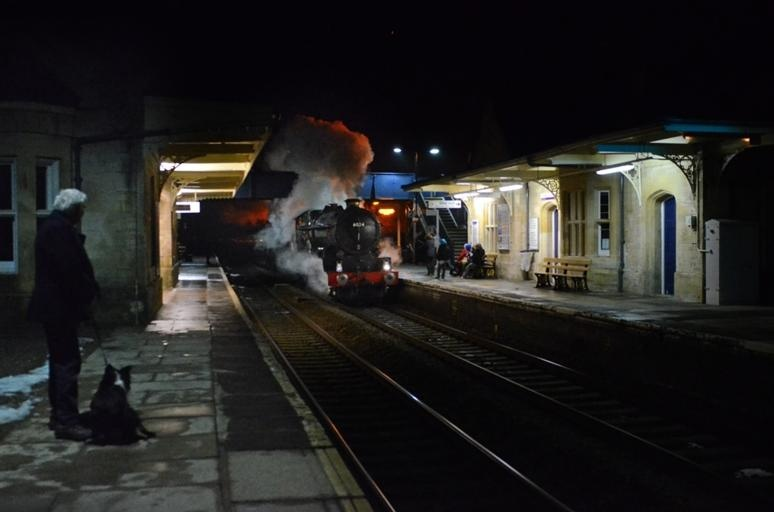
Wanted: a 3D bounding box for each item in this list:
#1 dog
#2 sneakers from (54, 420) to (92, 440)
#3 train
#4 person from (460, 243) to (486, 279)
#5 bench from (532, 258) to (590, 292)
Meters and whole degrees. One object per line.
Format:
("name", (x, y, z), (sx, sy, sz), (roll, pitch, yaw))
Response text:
("dog", (-3.644, 2.069, 8.987), (0.523, 1.564, 0.826), (-1, -10, 3))
("sneakers", (-4.226, 2.402, 8.981), (0.516, 0.249, 0.231), (-1, 45, 0))
("train", (-1.838, -0.384, 27.430), (2.637, 3.961, 9.476), (-1, 4, -11))
("person", (3.211, 0.181, 25.004), (0.830, 1.255, 0.742), (-1, 4, 18))
("bench", (5.182, 0.556, 19.967), (0.681, 0.930, 2.109), (0, 2, -21))
